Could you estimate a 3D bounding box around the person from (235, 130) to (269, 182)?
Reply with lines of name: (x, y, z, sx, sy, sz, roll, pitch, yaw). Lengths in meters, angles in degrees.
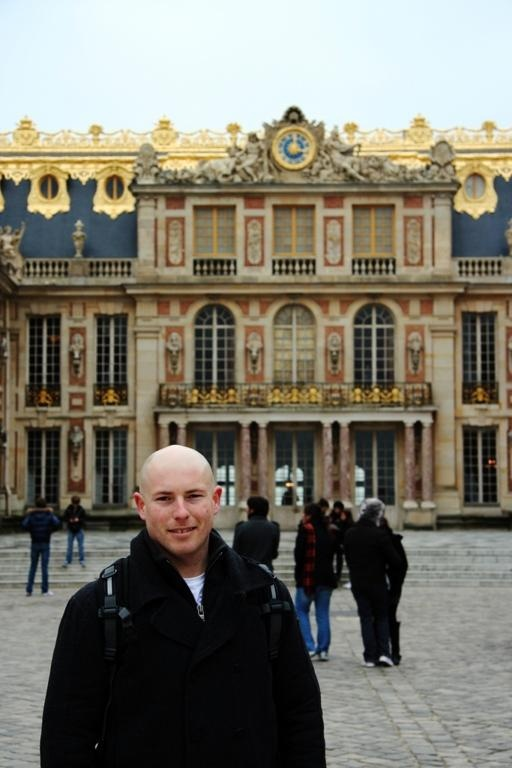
person: (-0.089, -4.696, 35.416, 0.669, 1.074, 0.345, -5, -12, 9)

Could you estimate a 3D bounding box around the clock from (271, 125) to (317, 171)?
clock: (0.749, -4.871, 35.401, 0.934, 0.926, 0.266, 13, 1, -3)

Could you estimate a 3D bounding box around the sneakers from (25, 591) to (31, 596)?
sneakers: (-2.844, 2.599, 21.457, 0.041, 0.056, 0.126, 1, -18, -4)

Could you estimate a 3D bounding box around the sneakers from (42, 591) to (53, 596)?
sneakers: (-2.592, 2.590, 21.331, 0.135, 0.062, 0.056, 3, -6, 13)

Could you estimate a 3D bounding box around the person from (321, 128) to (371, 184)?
person: (1.856, -4.735, 35.255, 0.748, 0.849, 1.284, -9, 35, -37)
